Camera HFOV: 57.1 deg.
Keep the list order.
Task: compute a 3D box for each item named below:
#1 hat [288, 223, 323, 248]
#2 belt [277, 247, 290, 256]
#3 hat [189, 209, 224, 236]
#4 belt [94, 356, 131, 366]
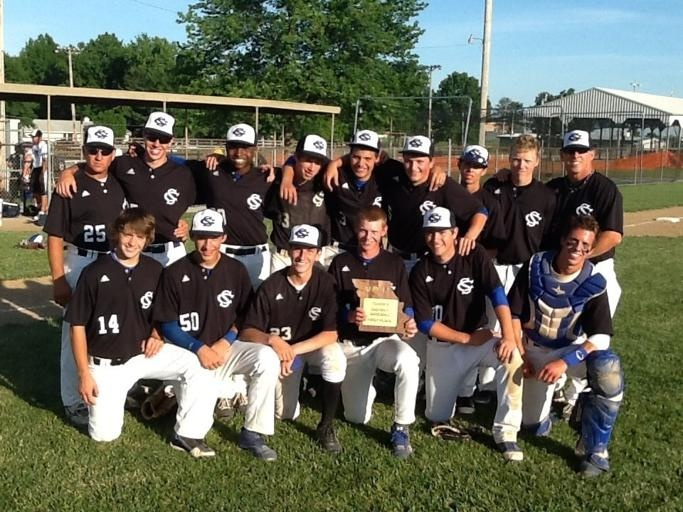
[{"bbox_3d":[-0.357,-0.174,6.223,0.303,0.222,0.233,-3,15,-11],"label":"hat"},{"bbox_3d":[-0.683,-0.076,7.361,0.160,0.123,0.092,7,15,1],"label":"belt"},{"bbox_3d":[-1.299,-0.317,6.133,0.314,0.218,0.272,-4,16,-14],"label":"hat"},{"bbox_3d":[-2.200,1.009,5.994,0.331,0.092,0.048,-2,15,-10],"label":"belt"}]
